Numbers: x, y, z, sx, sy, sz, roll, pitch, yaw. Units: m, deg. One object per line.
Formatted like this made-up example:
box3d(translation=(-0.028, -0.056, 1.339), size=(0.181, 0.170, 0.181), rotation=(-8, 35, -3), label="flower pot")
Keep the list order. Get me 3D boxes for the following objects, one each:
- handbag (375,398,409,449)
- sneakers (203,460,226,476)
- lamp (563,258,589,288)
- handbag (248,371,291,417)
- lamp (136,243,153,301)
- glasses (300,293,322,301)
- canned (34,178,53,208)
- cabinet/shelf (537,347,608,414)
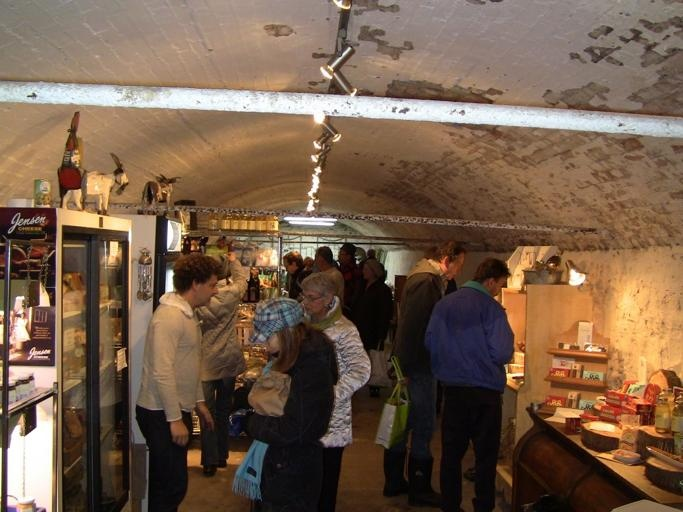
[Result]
box3d(translation=(0.449, 1.454, 4.526), size=(0.259, 0.392, 0.171), rotation=(4, -2, -9), label="handbag")
box3d(translation=(-1.376, 2.233, 5.523), size=(0.109, 0.110, 0.292), rotation=(1, -15, 7), label="sneakers")
box3d(translation=(2.250, 0.176, 5.013), size=(0.201, 0.277, 0.141), rotation=(18, -41, -22), label="lamp")
box3d(translation=(-0.437, 0.775, 3.047), size=(0.177, 0.224, 0.303), rotation=(7, 0, -37), label="handbag")
box3d(translation=(-1.714, 0.183, 4.470), size=(0.144, 0.425, 0.129), rotation=(1, 1, -1), label="lamp")
box3d(translation=(-0.196, 0.305, 3.780), size=(0.215, 0.051, 0.193), rotation=(1, -1, -25), label="glasses")
box3d(translation=(-1.868, -0.375, 3.213), size=(0.093, 0.145, 0.193), rotation=(4, -3, -30), label="canned")
box3d(translation=(2.203, 1.171, 4.856), size=(0.247, 0.570, 0.675), rotation=(22, -19, -26), label="cabinet/shelf")
